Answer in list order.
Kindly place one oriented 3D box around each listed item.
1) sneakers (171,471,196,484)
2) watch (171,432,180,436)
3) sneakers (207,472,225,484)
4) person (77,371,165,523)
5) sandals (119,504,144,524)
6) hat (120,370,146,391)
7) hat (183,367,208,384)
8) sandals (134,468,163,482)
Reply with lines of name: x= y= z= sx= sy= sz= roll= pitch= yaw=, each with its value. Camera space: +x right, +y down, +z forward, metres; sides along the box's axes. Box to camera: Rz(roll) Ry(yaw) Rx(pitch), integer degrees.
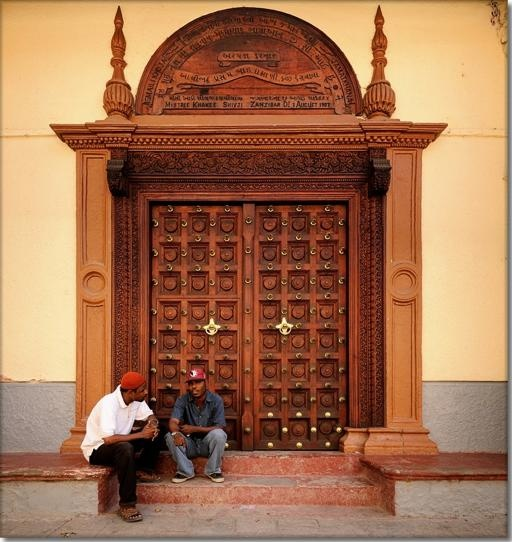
sneakers: x=-0.677 y=1.887 z=8.490 sx=0.082 sy=0.084 sz=0.221 roll=-11 pitch=-18 yaw=39
watch: x=-0.752 y=1.489 z=8.433 sx=0.080 sy=0.036 sz=0.037 roll=-1 pitch=-5 yaw=16
sneakers: x=-0.370 y=1.907 z=8.487 sx=0.066 sy=0.069 sz=0.182 roll=5 pitch=-10 yaw=-40
person: x=-1.203 y=1.556 z=8.379 sx=0.641 sy=1.273 sz=0.655 roll=-1 pitch=-5 yaw=19
sandals: x=-1.087 y=2.107 z=8.016 sx=0.219 sy=0.099 sz=0.098 roll=-4 pitch=-11 yaw=33
hat: x=-1.108 y=0.990 z=8.363 sx=0.143 sy=0.121 sz=0.198 roll=11 pitch=21 yaw=39
hat: x=-0.560 y=0.969 z=8.645 sx=0.134 sy=0.094 sz=0.183 roll=-2 pitch=-13 yaw=5
sandals: x=-0.995 y=1.888 z=8.537 sx=0.246 sy=0.098 sz=0.089 roll=0 pitch=-1 yaw=4
